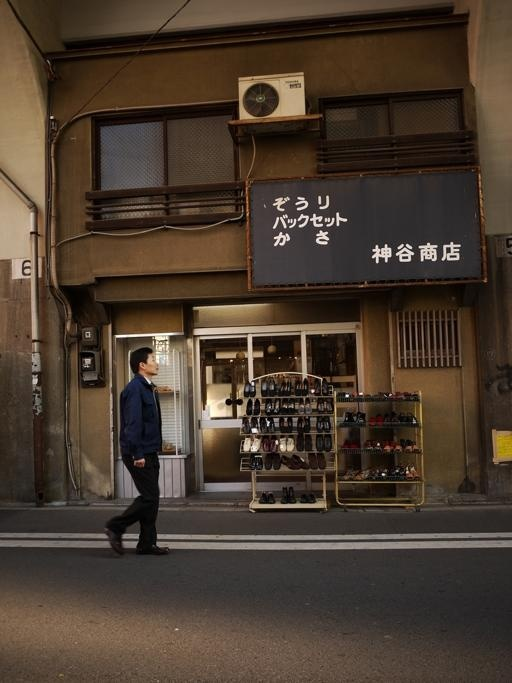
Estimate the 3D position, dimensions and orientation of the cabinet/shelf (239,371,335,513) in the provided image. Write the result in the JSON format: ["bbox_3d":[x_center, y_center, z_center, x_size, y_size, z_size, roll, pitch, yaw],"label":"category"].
[{"bbox_3d":[0.402,1.218,9.854,1.319,2.152,0.673,-1,-14,4],"label":"cabinet/shelf"}]

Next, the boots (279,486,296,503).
[{"bbox_3d":[0.369,1.778,9.625,0.236,0.162,0.415,0,-5,-1],"label":"boots"}]

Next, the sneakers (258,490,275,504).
[{"bbox_3d":[0.119,1.806,9.609,0.189,0.102,0.366,0,-6,1],"label":"sneakers"}]

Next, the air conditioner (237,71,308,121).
[{"bbox_3d":[0.175,-2.917,9.818,0.848,0.593,0.540,-1,-5,6],"label":"air conditioner"}]

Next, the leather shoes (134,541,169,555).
[{"bbox_3d":[-0.918,1.787,7.219,0.291,0.123,0.110,0,2,-7],"label":"leather shoes"}]

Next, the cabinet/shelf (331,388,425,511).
[{"bbox_3d":[1.490,1.280,9.775,1.213,1.749,0.674,-1,4,4],"label":"cabinet/shelf"}]

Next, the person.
[{"bbox_3d":[-1.032,0.944,7.178,0.337,1.812,0.517,-8,-9,39],"label":"person"}]
